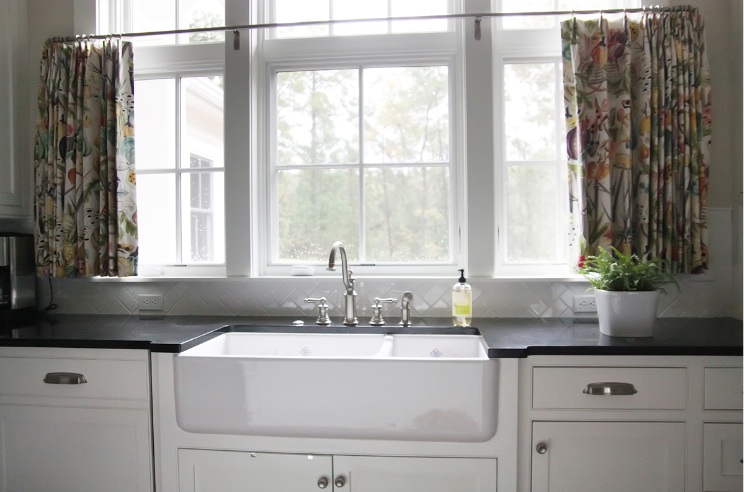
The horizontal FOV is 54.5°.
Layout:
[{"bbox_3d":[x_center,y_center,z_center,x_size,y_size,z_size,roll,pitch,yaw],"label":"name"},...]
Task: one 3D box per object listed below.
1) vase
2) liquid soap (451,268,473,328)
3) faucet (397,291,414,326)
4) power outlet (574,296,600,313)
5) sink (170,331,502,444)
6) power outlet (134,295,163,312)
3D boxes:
[{"bbox_3d":[1.306,0.342,3.679,0.253,0.193,0.245,-4,-5,28],"label":"vase"},{"bbox_3d":[0.493,0.282,3.964,0.101,0.302,0.147,0,-2,1],"label":"liquid soap"},{"bbox_3d":[0.187,0.345,4.008,0.083,0.180,0.219,0,-2,2],"label":"faucet"},{"bbox_3d":[1.192,0.327,4.045,0.152,0.105,0.084,0,3,11],"label":"power outlet"},{"bbox_3d":[-0.179,0.708,3.719,1.600,0.487,0.372,0,-2,3],"label":"sink"},{"bbox_3d":[-1.308,0.331,4.228,0.172,0.117,0.093,0,-3,0],"label":"power outlet"}]
